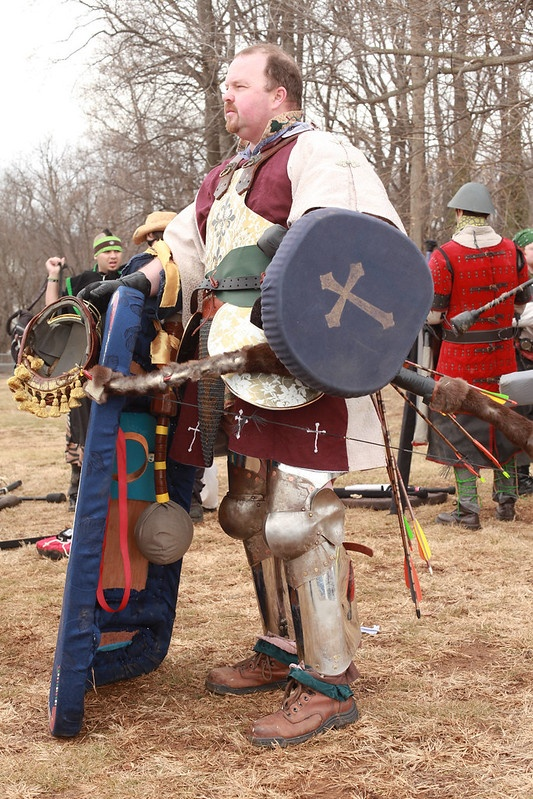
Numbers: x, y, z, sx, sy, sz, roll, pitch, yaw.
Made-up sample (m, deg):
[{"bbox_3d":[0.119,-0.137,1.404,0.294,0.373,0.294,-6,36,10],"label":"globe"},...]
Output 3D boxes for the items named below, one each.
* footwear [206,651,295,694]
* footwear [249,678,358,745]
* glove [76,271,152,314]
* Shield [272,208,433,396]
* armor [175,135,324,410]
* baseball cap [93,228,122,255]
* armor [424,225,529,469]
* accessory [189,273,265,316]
[{"bbox_3d":[-0.058,0.808,2.385,0.271,0.102,0.099,3,-1,-14],"label":"footwear"},{"bbox_3d":[0.090,0.795,2.073,0.310,0.184,0.113,3,-10,-26],"label":"footwear"},{"bbox_3d":[-0.414,-0.301,2.157,0.104,0.059,0.158,6,30,38],"label":"glove"},{"bbox_3d":[0.174,-0.209,1.728,0.392,0.393,0.068,27,-14,-17],"label":"Shield"},{"bbox_3d":[-0.066,-0.287,2.031,0.443,0.607,0.215,-8,-10,41],"label":"armor"},{"bbox_3d":[-1.040,-1.036,5.202,0.170,0.155,0.203,4,9,-6],"label":"baseball cap"},{"bbox_3d":[1.158,-0.284,4.348,0.549,1.323,0.509,-1,5,9],"label":"armor"},{"bbox_3d":[-0.091,-0.275,2.042,0.117,0.073,0.159,5,-7,-38],"label":"accessory"}]
